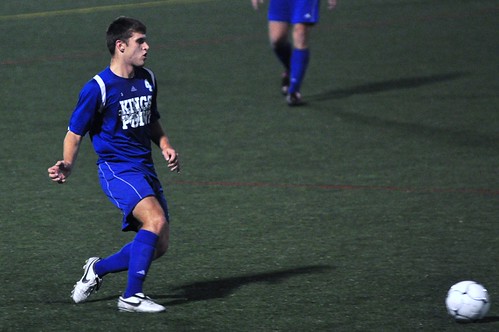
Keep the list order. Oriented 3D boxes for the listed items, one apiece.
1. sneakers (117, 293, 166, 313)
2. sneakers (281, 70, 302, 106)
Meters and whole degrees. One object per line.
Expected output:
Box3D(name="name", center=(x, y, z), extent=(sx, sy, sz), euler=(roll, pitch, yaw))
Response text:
Box3D(name="sneakers", center=(-0.921, 1.155, 8.664), extent=(0.398, 0.111, 0.164), euler=(1, 1, 3))
Box3D(name="sneakers", center=(0.569, -0.947, 12.558), extent=(0.198, 0.224, 0.514), euler=(-12, 41, -12))
